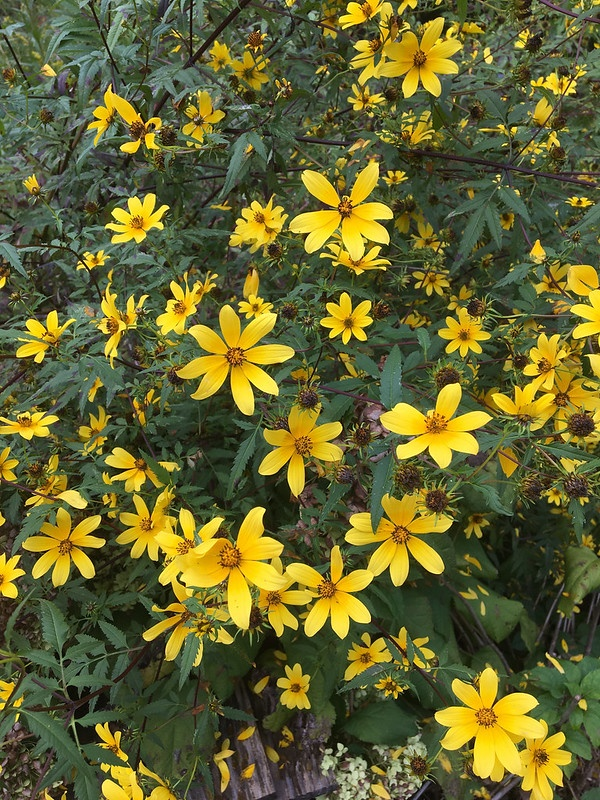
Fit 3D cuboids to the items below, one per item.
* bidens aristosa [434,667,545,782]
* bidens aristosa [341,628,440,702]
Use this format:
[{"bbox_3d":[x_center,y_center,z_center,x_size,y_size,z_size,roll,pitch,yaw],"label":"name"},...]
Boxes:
[{"bbox_3d":[0.435,0.737,1.509,0.194,0.175,0.192,20,34,41],"label":"bidens aristosa"},{"bbox_3d":[0.272,0.738,1.864,0.292,0.101,0.282,-23,44,45],"label":"bidens aristosa"}]
